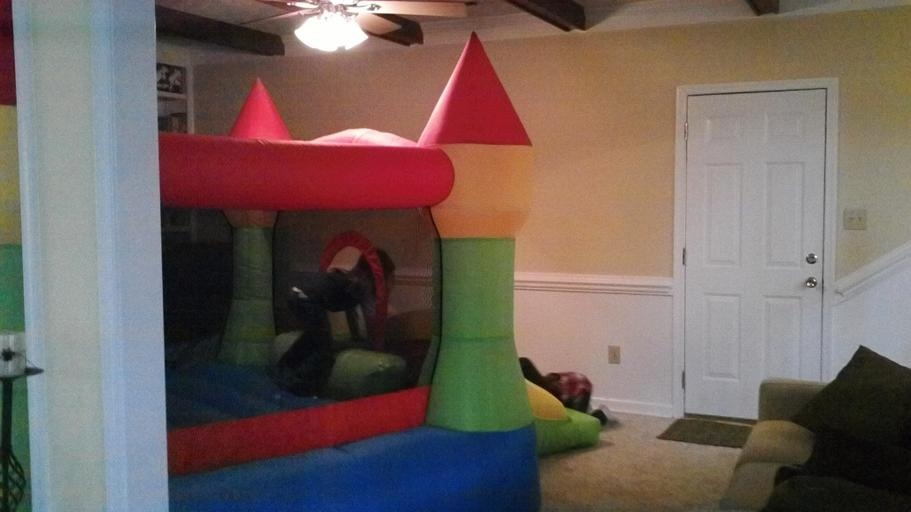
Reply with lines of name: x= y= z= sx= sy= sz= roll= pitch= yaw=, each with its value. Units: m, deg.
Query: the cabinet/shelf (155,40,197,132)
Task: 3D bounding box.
cabinet/shelf: x=-2.398 y=-1.438 z=5.974 sx=0.300 sy=0.735 sz=0.234 roll=-2 pitch=7 yaw=-20
